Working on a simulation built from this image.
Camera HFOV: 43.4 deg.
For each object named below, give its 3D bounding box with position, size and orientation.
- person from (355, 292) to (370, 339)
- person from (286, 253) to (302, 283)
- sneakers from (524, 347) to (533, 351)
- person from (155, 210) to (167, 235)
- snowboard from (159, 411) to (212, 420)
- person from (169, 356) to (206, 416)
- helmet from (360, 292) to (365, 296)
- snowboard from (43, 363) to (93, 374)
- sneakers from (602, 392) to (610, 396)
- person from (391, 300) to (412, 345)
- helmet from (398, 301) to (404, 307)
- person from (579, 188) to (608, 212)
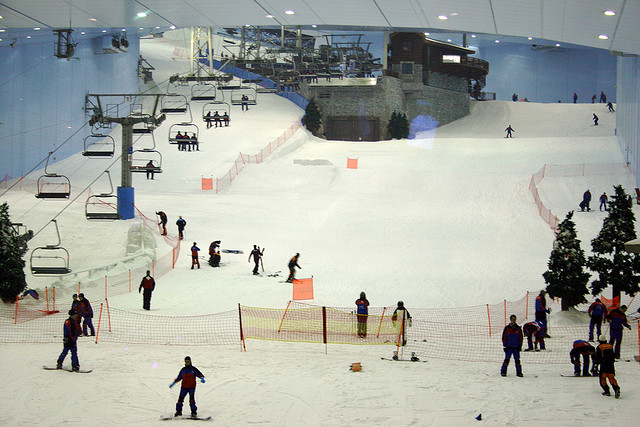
[{"bbox_3d":[1.567,3.812,30.141,0.473,1.665,0.964,3,3,3],"label":"person"},{"bbox_3d":[-1.190,2.551,36.504,0.698,1.599,0.572,-3,30,-21],"label":"person"},{"bbox_3d":[7.507,4.921,28.944,0.292,0.104,0.108,-8,-2,23],"label":"sneakers"},{"bbox_3d":[-8.049,0.546,41.035,0.521,1.146,1.118,3,3,-11],"label":"person"},{"bbox_3d":[-3.977,6.097,23.893,1.475,0.190,0.449,-2,31,1],"label":"snowboard"},{"bbox_3d":[-4.018,5.185,24.471,0.983,1.739,1.393,3,3,-8],"label":"person"},{"bbox_3d":[1.596,3.042,30.181,0.185,0.093,0.236,4,34,6],"label":"helmet"},{"bbox_3d":[-8.258,5.108,26.200,1.769,0.274,0.497,4,10,-5],"label":"snowboard"},{"bbox_3d":[8.768,5.565,24.666,0.229,0.076,0.088,-6,-36,24],"label":"sneakers"},{"bbox_3d":[2.906,4.006,28.896,0.599,1.668,1.032,4,3,12],"label":"person"},{"bbox_3d":[2.895,3.309,28.832,0.283,0.121,0.351,0,1,5],"label":"helmet"},{"bbox_3d":[15.178,-0.628,44.622,1.366,1.073,0.337,6,24,25],"label":"person"}]
